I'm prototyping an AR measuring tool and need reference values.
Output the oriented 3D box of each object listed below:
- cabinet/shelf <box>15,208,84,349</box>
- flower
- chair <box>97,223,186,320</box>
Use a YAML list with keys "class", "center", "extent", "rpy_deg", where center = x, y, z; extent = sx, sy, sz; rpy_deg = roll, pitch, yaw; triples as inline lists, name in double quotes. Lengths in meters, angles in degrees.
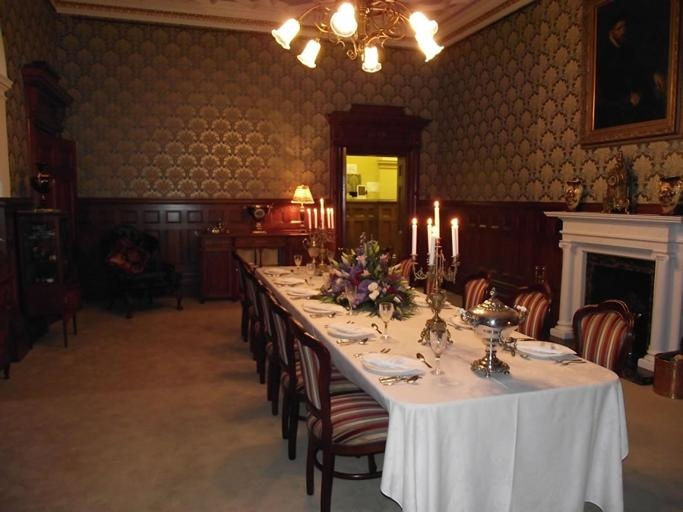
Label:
- class: "cabinet/shelf"
  center: [-3.537, 0.252, 6.195]
  extent: [0.532, 1.626, 0.810]
  rpy_deg: [-4, 13, -19]
- class: "flower"
  center: [0.222, 0.213, 4.457]
  extent: [0.649, 0.708, 0.826]
  rpy_deg: [-2, 6, -27]
- class: "chair"
  center: [-2.945, 0.160, 8.210]
  extent: [1.312, 1.836, 1.263]
  rpy_deg: [5, 6, 44]
